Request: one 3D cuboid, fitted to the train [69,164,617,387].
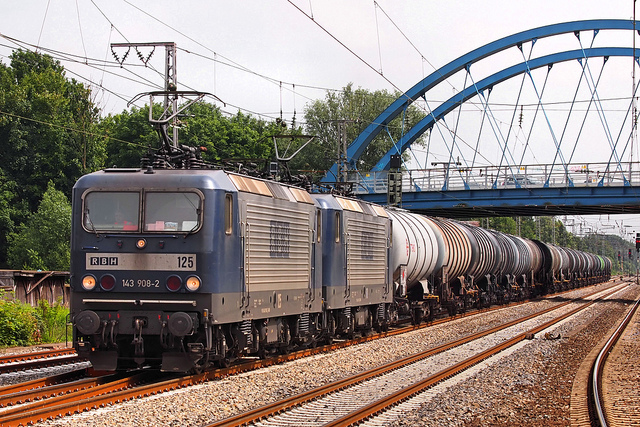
[{"bbox_3d":[7.756,2.787,47.297,6.955,9.227,63.550,1,-2,24],"label":"train"}]
